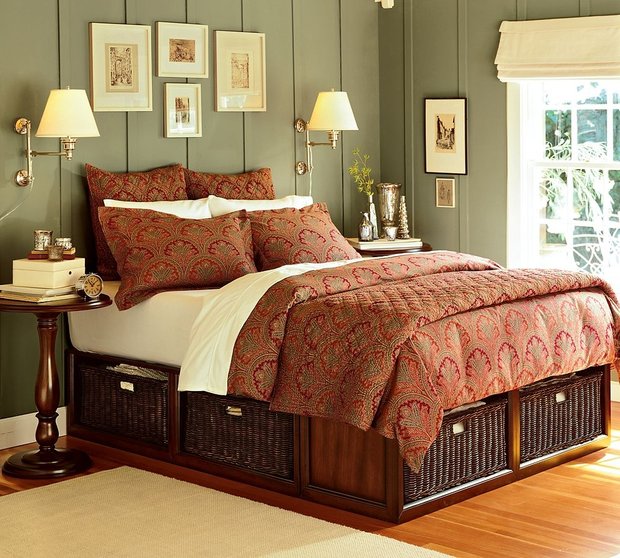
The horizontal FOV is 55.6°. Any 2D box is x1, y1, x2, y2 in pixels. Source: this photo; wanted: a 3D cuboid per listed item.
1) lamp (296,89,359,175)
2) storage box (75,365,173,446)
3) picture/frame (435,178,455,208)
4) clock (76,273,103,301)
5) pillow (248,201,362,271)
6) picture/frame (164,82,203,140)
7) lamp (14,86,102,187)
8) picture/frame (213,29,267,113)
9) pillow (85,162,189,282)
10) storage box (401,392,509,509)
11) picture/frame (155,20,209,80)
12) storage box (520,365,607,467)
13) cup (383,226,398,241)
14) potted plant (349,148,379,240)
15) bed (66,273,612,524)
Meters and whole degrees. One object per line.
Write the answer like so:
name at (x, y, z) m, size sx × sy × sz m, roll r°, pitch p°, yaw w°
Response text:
lamp at (0.142, -1.114, 4.565) m, size 0.483 × 0.561 × 0.392 m, roll -4°, pitch 8°, yaw 11°
storage box at (-0.936, 0.648, 3.316) m, size 0.649 × 0.360 × 0.364 m, roll 6°, pitch 12°, yaw 22°
picture/frame at (1.140, -0.723, 4.895) m, size 0.034 × 0.319 × 0.247 m, roll -6°, pitch 8°, yaw -40°
clock at (-1.044, 0.039, 2.743) m, size 0.077 × 0.140 × 0.121 m, roll 0°, pitch -4°, yaw 35°
pillow at (0.004, -0.169, 3.595) m, size 0.606 × 0.154 × 0.630 m, roll 27°, pitch -39°, yaw -21°
picture/frame at (-0.885, -1.152, 4.000) m, size 0.035 × 0.485 × 0.409 m, roll 3°, pitch 6°, yaw 40°
lamp at (-1.394, -0.770, 3.252) m, size 0.481 × 0.489 × 0.330 m, roll -3°, pitch 6°, yaw -5°
picture/frame at (-0.521, -1.518, 4.282) m, size 0.366 × 0.445 × 0.020 m, roll -1°, pitch 19°, yaw -3°
pillow at (-1.099, -0.377, 3.583) m, size 0.207 × 0.637 × 0.690 m, roll -21°, pitch -11°, yaw 40°
storage box at (0.530, 0.695, 2.540) m, size 0.626 × 0.298 × 0.355 m, roll -3°, pitch -1°, yaw -31°
picture/frame at (-0.883, -1.553, 3.979) m, size 0.041 × 0.351 × 0.407 m, roll 33°, pitch 36°, yaw 32°
storage box at (1.203, 0.666, 3.050) m, size 0.578 × 0.350 × 0.324 m, roll -10°, pitch 8°, yaw -17°
cup at (0.685, -0.377, 4.848) m, size 0.119 × 0.132 × 0.117 m, roll -1°, pitch 6°, yaw 0°
potted plant at (0.559, -0.780, 5.219) m, size 0.227 × 0.752 × 0.223 m, roll -5°, pitch 42°, yaw 14°
bed at (0.447, 0.268, 3.007) m, size 1.312 × 0.546 × 1.821 m, roll 3°, pitch 5°, yaw 41°
